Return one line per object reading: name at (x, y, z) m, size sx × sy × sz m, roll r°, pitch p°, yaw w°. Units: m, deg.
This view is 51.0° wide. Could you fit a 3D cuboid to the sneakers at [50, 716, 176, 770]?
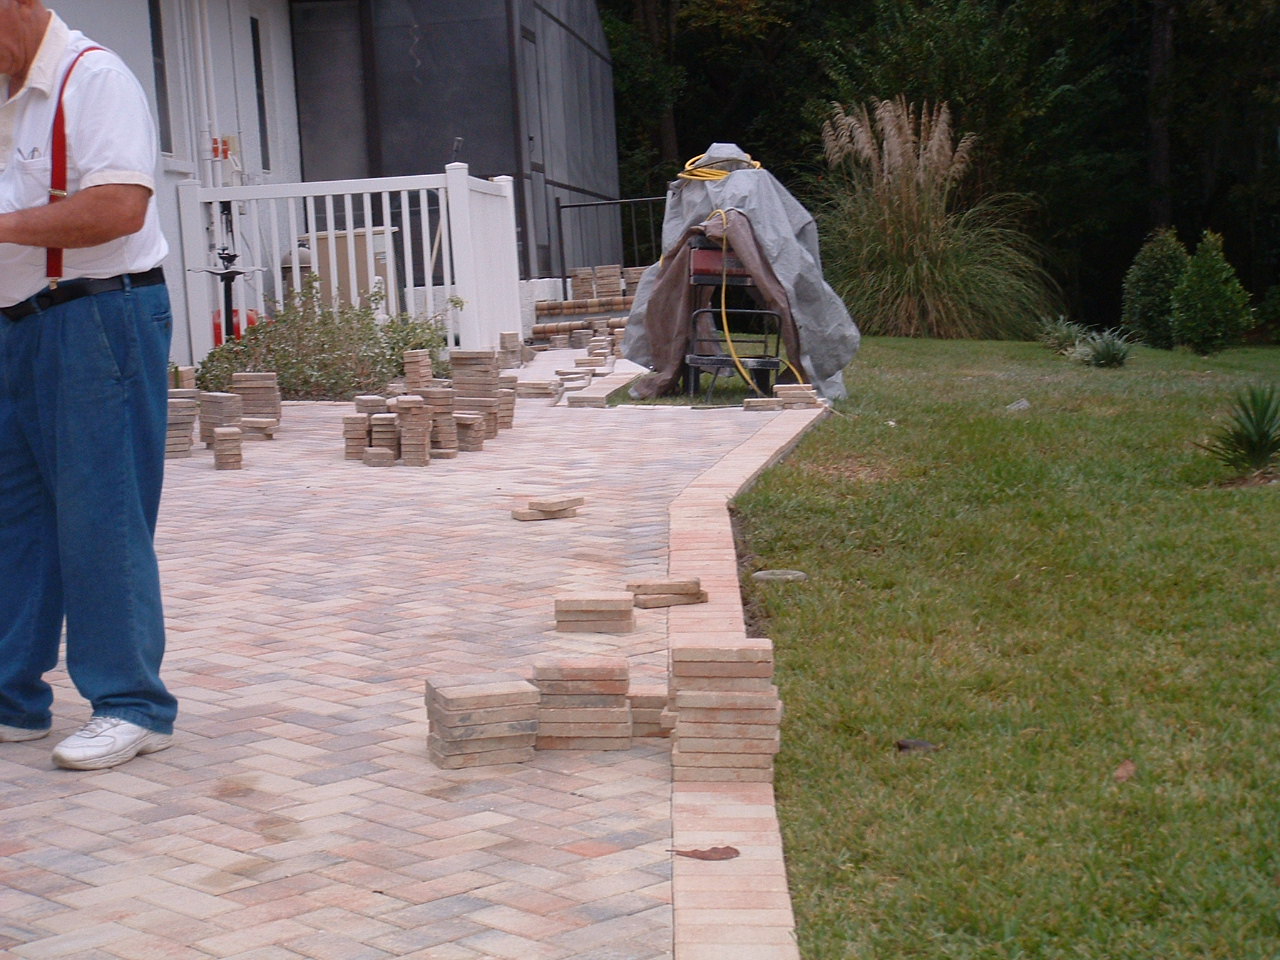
sneakers at (-1.553, 0.788, 3.986) m, size 0.336 × 0.135 × 0.120 m, roll 4°, pitch -2°, yaw -38°
